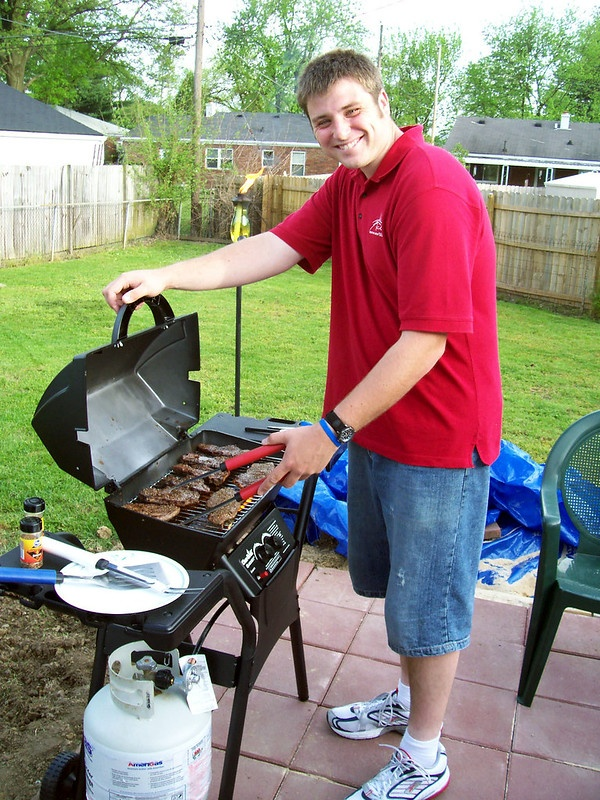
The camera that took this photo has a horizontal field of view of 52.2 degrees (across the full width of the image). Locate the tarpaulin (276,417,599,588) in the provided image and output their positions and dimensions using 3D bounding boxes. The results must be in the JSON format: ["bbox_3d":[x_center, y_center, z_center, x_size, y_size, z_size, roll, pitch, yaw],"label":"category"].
[{"bbox_3d":[0.805,0.603,3.408,1.230,0.338,0.952,17,29,25],"label":"tarpaulin"}]

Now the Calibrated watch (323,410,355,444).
[{"bbox_3d":[0.077,0.053,1.209,0.030,0.047,0.049,-43,13,-13],"label":"Calibrated watch"}]

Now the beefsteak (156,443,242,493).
[{"bbox_3d":[-0.298,0.190,1.818,0.107,0.025,0.185,7,28,41],"label":"beefsteak"}]

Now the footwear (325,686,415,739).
[{"bbox_3d":[0.198,0.940,1.897,0.288,0.127,0.110,-1,25,-11],"label":"footwear"}]

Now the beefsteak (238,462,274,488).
[{"bbox_3d":[-0.136,0.228,1.884,0.075,0.010,0.094,3,23,38],"label":"beefsteak"}]

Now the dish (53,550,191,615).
[{"bbox_3d":[-0.295,0.301,0.985,0.121,0.004,0.112,6,12,15],"label":"dish"}]

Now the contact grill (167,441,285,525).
[{"bbox_3d":[-0.199,0.182,1.520,0.170,0.258,0.481,-2,11,-22],"label":"contact grill"}]

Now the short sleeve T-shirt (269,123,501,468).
[{"bbox_3d":[0.286,-0.252,1.513,0.338,0.776,0.682,-1,11,-16],"label":"short sleeve T-shirt"}]
